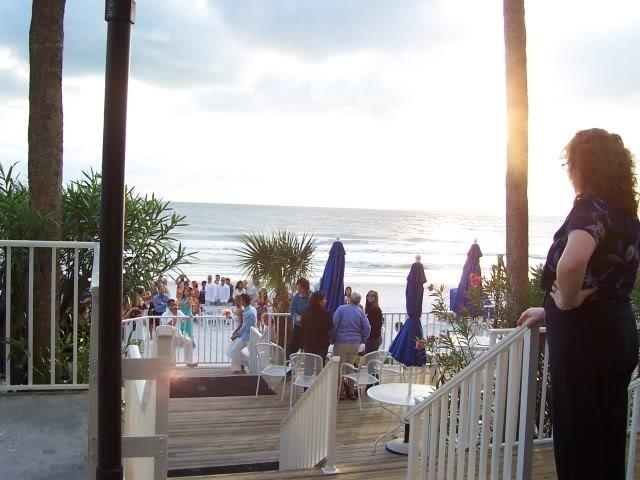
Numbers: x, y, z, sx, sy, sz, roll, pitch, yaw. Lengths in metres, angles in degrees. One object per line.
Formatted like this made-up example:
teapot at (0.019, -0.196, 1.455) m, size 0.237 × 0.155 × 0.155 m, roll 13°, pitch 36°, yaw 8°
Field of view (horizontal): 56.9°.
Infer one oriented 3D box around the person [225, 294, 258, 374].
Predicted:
person at (-1.654, 1.915, 12.310) m, size 0.565 × 1.634 × 0.932 m, roll -1°, pitch 2°, yaw -25°

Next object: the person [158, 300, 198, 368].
person at (-3.120, 2.054, 13.057) m, size 0.738 × 1.435 × 3.035 m, roll -1°, pitch 2°, yaw -15°
